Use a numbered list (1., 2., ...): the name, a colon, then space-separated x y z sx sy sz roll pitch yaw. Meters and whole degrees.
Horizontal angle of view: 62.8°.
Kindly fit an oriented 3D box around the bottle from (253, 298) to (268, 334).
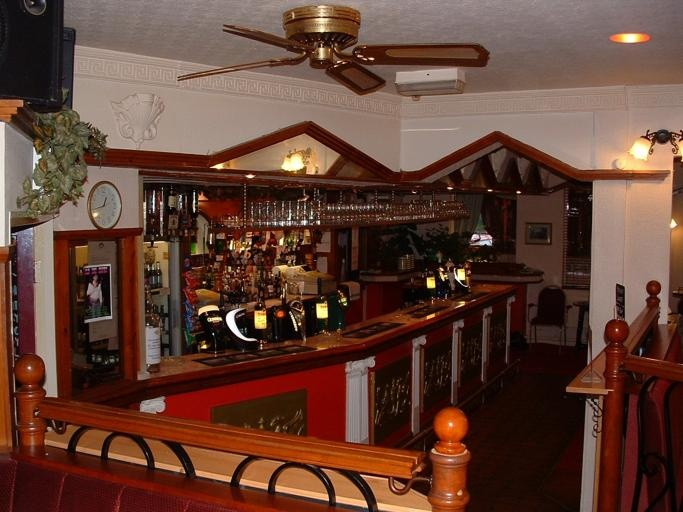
1. bottle: -0.742 0.560 5.137 0.125 0.282 0.194 -1 5 -8

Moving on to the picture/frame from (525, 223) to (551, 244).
1. picture/frame: 3.863 -0.446 10.902 0.437 0.380 0.034 2 6 25

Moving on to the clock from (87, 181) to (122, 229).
1. clock: -1.737 -0.374 4.103 0.054 0.346 0.263 3 6 27

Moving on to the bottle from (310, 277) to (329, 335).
1. bottle: -0.197 0.569 5.528 0.139 0.356 0.180 0 5 0

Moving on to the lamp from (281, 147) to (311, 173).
1. lamp: -0.423 -0.875 5.267 0.262 0.333 0.238 3 6 -13

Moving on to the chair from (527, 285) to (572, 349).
1. chair: 3.863 1.139 10.393 0.712 1.106 0.860 2 6 20
